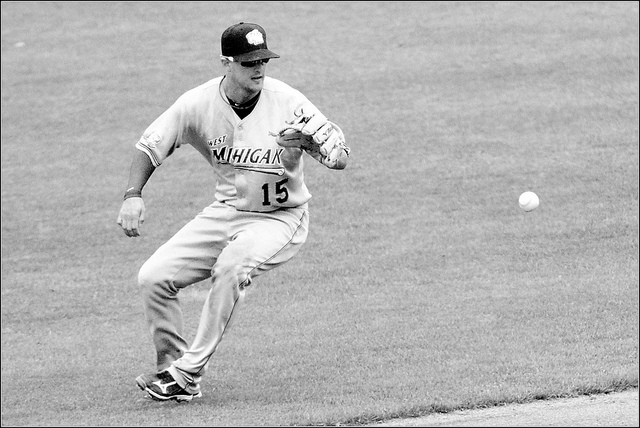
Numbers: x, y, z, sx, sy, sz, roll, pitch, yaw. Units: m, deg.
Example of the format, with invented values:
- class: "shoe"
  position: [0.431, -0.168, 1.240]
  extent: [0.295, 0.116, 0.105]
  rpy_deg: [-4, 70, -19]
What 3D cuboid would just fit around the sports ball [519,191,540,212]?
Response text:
- class: "sports ball"
  position: [3.303, -0.174, 20.491]
  extent: [0.280, 0.276, 0.326]
  rpy_deg: [0, 7, -3]
